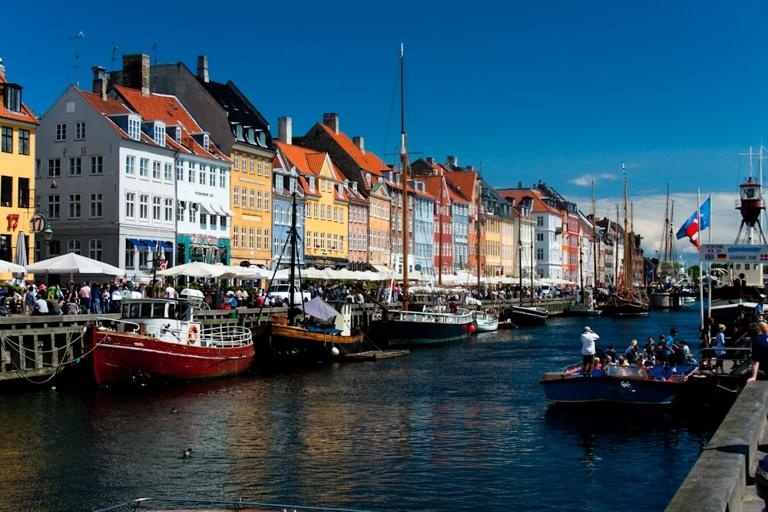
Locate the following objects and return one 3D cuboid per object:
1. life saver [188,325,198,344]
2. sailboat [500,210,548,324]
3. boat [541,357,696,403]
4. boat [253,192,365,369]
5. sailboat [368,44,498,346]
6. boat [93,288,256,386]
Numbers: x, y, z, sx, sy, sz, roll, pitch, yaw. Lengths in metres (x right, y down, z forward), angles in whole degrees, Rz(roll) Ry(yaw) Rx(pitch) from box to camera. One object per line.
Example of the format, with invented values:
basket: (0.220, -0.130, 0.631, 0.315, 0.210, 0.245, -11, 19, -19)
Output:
life saver: (-9.297, 3.772, 60.031, 0.128, 0.957, 0.915, -5, 1, 21)
sailboat: (15.861, 1.125, 142.153, 4.406, 12.333, 3.041, 3, 5, 27)
boat: (10.122, 5.549, 53.399, 5.991, 1.726, 1.551, -2, -4, 18)
boat: (-4.530, 1.559, 69.321, 4.543, 8.589, 8.107, -8, -9, 37)
sailboat: (3.825, -0.623, 110.951, 7.403, 19.198, 8.981, 0, 13, -3)
boat: (-10.428, 4.359, 60.472, 3.960, 3.958, 10.941, -12, -10, 31)
